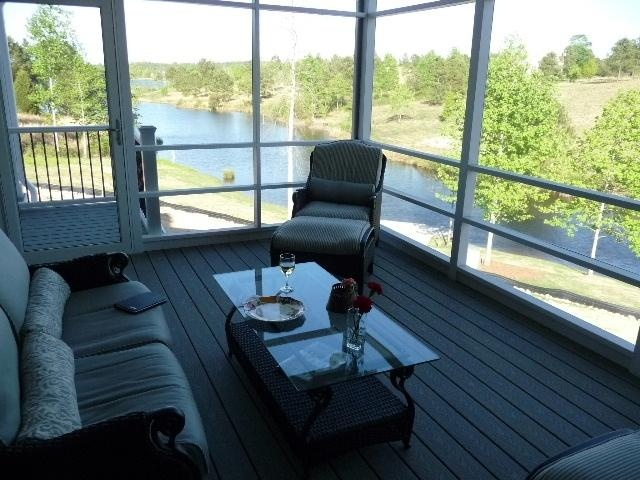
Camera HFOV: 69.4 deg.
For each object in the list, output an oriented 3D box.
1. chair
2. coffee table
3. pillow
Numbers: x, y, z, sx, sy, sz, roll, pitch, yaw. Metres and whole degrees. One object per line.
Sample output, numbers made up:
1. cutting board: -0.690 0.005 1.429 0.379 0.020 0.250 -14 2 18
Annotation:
1. chair: 0.168 -0.320 4.677 0.903 1.057 1.394 6 29 14
2. coffee table: 0.033 0.798 2.644 1.174 0.390 0.630 8 12 -43
3. pillow: -1.253 0.525 2.114 0.119 0.100 0.686 -21 27 -15
